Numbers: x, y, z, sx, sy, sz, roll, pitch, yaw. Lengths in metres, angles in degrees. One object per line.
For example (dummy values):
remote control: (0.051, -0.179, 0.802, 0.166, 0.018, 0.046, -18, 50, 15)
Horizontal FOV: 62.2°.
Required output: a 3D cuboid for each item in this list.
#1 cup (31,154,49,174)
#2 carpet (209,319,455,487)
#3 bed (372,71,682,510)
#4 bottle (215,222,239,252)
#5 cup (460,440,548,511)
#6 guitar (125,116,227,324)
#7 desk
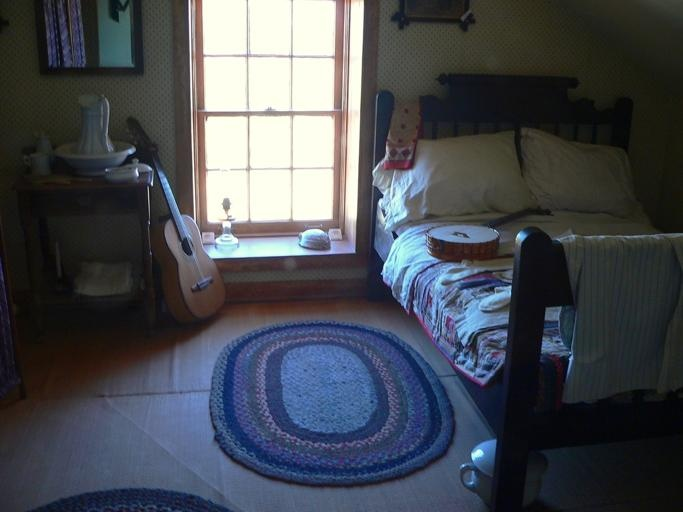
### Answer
cup: (-1.617, -0.493, 3.058, 0.063, 0.099, 0.115, 1, 24, -12)
carpet: (-0.062, 0.669, 2.809, 1.123, 0.101, 1.476, 7, 15, 7)
bed: (1.023, -0.133, 2.790, 1.391, 1.315, 1.938, -5, 22, -11)
bottle: (-0.717, -0.130, 3.633, 0.156, 0.194, 0.159, 7, 10, 44)
cup: (0.611, 0.768, 2.153, 0.283, 0.247, 0.226, -5, 20, 0)
guitar: (-1.023, -0.064, 3.224, 0.167, 1.311, 0.434, -17, -3, 25)
desk: (-1.453, -0.054, 3.225, 0.841, 0.840, 0.480, -3, 20, -6)
